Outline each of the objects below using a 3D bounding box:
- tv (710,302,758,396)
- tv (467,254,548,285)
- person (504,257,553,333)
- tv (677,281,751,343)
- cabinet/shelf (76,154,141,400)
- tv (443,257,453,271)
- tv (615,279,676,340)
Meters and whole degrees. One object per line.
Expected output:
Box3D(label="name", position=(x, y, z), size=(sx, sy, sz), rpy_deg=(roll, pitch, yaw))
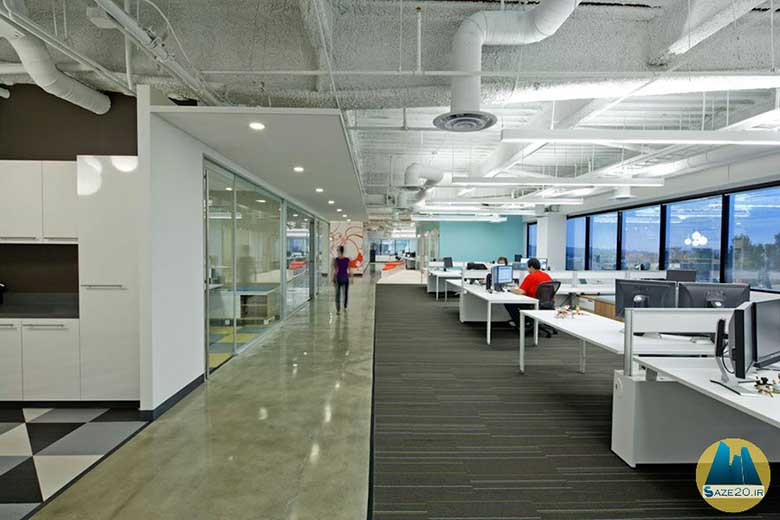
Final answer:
Box3D(label="tv", position=(3.758, 1.006, 6.535), size=(0.647, 0.956, 1.142), rpy_deg=(-2, -2, 26))
Box3D(label="tv", position=(2.757, 0.226, 13.861), size=(1.063, 0.559, 0.664), rpy_deg=(0, -2, -3))
Box3D(label="person", position=(2.570, 0.625, 11.280), size=(0.789, 1.228, 0.653), rpy_deg=(-1, -2, 41))
Box3D(label="tv", position=(3.895, 0.641, 7.199), size=(0.829, 0.622, 0.276), rpy_deg=(1, 2, 8))
Box3D(label="cabinet/shelf", position=(-3.663, 0.249, 7.814), size=(0.756, 3.152, 0.324), rpy_deg=(0, 7, 0))
Box3D(label="tv", position=(1.771, 0.143, 18.478), size=(0.147, 0.295, 0.489), rpy_deg=(1, -2, 32))
Box3D(label="tv", position=(3.282, 0.642, 7.647), size=(0.237, 0.511, 0.790), rpy_deg=(-4, 4, -44))
